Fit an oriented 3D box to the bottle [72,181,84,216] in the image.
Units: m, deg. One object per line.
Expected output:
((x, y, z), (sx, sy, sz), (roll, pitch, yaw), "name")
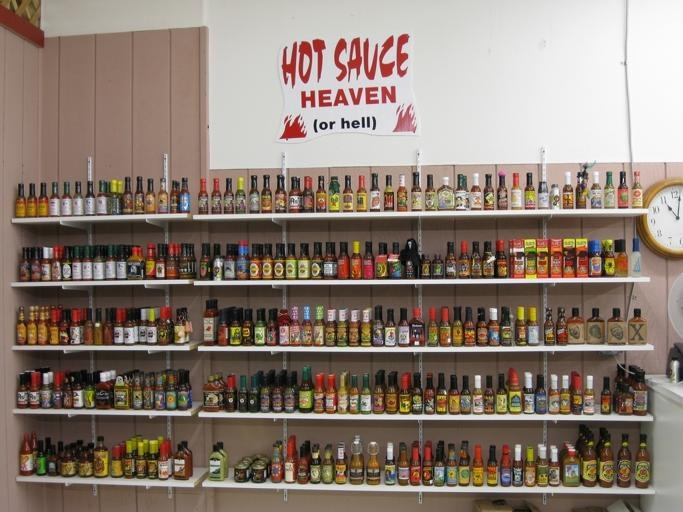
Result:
((-1.805, -0.391, 6.585), (0.062, 0.233, 0.137), (1, -7, -33), "bottle")

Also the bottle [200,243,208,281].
((-0.918, 0.026, 6.464), (0.059, 0.234, 0.046), (-2, -6, -7), "bottle")

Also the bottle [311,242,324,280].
((-0.172, 0.020, 6.436), (0.089, 0.255, 0.134), (-2, -6, -2), "bottle")

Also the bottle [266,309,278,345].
((-0.458, 0.456, 6.405), (0.079, 0.236, 0.064), (-2, -6, -6), "bottle")

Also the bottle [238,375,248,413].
((-0.663, 0.892, 6.424), (0.067, 0.238, 0.081), (-2, -6, -9), "bottle")

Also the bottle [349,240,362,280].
((0.098, 0.019, 6.349), (0.078, 0.242, 0.126), (-1, -6, -13), "bottle")

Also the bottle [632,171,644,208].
((1.961, -0.454, 6.429), (0.061, 0.277, 0.228), (-5, -6, 23), "bottle")

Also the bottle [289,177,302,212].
((-0.317, -0.412, 6.466), (0.093, 0.256, 0.165), (-2, -6, -3), "bottle")

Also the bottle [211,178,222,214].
((-0.853, -0.420, 6.558), (0.072, 0.270, 0.223), (-2, -6, -8), "bottle")

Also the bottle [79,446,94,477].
((-1.726, 1.349, 6.518), (0.094, 0.210, 0.043), (-4, -6, 10), "bottle")

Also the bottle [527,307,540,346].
((1.267, 0.445, 6.413), (0.079, 0.259, 0.286), (-4, -6, 12), "bottle")

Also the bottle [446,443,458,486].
((0.718, 1.338, 6.344), (0.074, 0.267, 0.099), (-4, -6, 17), "bottle")

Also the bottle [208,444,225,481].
((-0.833, 1.347, 6.479), (0.118, 0.243, 0.095), (-2, -6, -6), "bottle")

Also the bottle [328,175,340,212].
((-0.053, -0.429, 6.515), (0.087, 0.281, 0.284), (-3, -6, 1), "bottle")

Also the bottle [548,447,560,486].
((1.402, 1.345, 6.368), (0.078, 0.257, 0.267), (-5, -6, 20), "bottle")

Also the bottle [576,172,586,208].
((1.585, -0.434, 6.403), (0.082, 0.252, 0.189), (-4, -6, 14), "bottle")

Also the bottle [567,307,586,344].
((1.553, 0.439, 6.405), (0.109, 0.247, 0.231), (-4, -6, 18), "bottle")

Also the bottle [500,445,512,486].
((1.069, 1.337, 6.305), (0.081, 0.267, 0.166), (-3, -6, 2), "bottle")

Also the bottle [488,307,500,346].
((0.998, 0.451, 6.356), (0.075, 0.238, 0.142), (-3, -6, 10), "bottle")

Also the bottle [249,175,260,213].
((-0.590, -0.418, 6.499), (0.070, 0.258, 0.131), (-2, -6, -5), "bottle")

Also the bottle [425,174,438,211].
((0.589, -0.419, 6.372), (0.091, 0.239, 0.101), (-1, -6, -14), "bottle")

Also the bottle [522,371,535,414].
((1.225, 0.876, 6.349), (0.080, 0.262, 0.153), (-4, -6, 10), "bottle")

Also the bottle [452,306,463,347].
((0.766, 0.447, 6.349), (0.094, 0.250, 0.093), (-2, -6, 0), "bottle")

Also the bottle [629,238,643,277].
((1.941, -0.013, 6.406), (0.086, 0.283, 0.258), (-4, -6, 17), "bottle")

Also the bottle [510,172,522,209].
((1.158, -0.436, 6.410), (0.079, 0.265, 0.274), (-4, -6, 11), "bottle")

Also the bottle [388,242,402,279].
((0.351, 0.014, 6.450), (0.086, 0.261, 0.255), (-3, -6, 5), "bottle")

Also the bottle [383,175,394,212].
((0.313, -0.423, 6.469), (0.079, 0.258, 0.252), (-3, -6, 3), "bottle")

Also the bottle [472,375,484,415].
((0.891, 0.887, 6.360), (0.078, 0.245, 0.139), (-3, -6, 10), "bottle")

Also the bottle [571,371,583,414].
((1.542, 0.869, 6.310), (0.100, 0.272, 0.072), (0, -6, -23), "bottle")

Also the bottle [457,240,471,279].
((0.804, 0.015, 6.353), (0.070, 0.236, 0.120), (-1, -6, -11), "bottle")

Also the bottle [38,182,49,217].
((-2.033, -0.385, 6.580), (0.065, 0.223, 0.084), (2, -7, -36), "bottle")

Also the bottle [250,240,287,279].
((-0.491, 0.021, 6.429), (0.212, 0.233, 0.083), (0, -3, 3), "bottle")

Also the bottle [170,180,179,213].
((-1.118, -0.402, 6.512), (0.080, 0.219, 0.075), (-2, -6, 0), "bottle")

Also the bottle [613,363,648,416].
((1.826, 0.866, 6.350), (0.286, 0.353, 0.187), (1, -1, 0), "bottle")

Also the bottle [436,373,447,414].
((0.654, 0.880, 6.358), (0.077, 0.258, 0.135), (-4, -6, 12), "bottle")

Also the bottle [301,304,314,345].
((-0.236, 0.439, 6.471), (0.080, 0.284, 0.279), (-2, -6, -3), "bottle")

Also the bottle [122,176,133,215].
((-1.458, -0.414, 6.555), (0.077, 0.243, 0.071), (-2, -6, 0), "bottle")

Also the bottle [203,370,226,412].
((-0.863, 0.894, 6.487), (0.153, 0.243, 0.125), (-3, -6, -1), "bottle")

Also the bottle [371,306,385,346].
((0.237, 0.448, 6.393), (0.086, 0.260, 0.140), (-3, -6, 1), "bottle")

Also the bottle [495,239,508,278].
((1.039, 0.008, 6.351), (0.069, 0.247, 0.130), (-4, -6, 15), "bottle")
